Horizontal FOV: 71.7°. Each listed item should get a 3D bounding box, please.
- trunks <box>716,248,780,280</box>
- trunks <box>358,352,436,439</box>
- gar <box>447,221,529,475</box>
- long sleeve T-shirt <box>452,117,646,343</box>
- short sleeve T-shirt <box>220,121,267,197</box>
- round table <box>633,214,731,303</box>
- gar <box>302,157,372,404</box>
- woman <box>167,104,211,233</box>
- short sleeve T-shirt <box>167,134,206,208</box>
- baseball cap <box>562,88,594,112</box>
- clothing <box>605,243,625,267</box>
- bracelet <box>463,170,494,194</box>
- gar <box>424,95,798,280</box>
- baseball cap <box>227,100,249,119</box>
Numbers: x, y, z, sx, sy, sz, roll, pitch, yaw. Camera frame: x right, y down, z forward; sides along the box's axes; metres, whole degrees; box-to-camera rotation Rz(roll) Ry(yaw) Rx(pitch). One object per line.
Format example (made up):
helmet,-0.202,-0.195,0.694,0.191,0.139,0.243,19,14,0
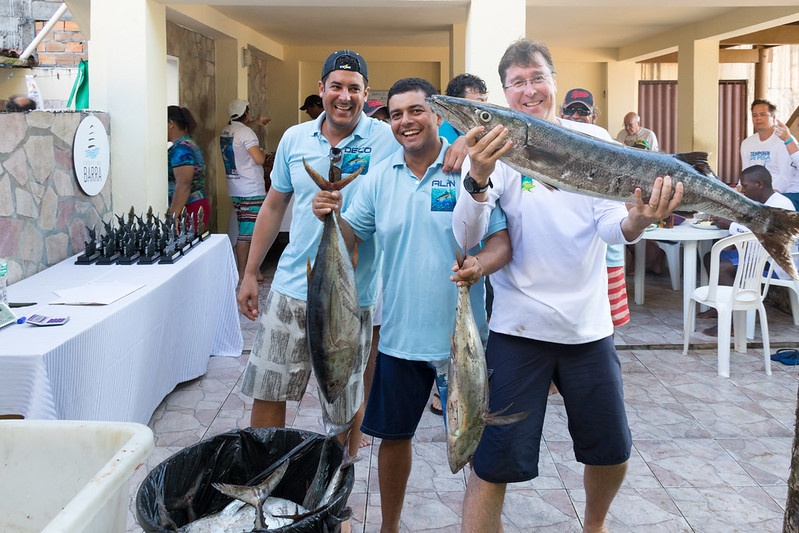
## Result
trunks,3.090,-0.007,4.909,0.233,0.208,0.286,-6,-43,11
trunks,-0.003,0.604,2.691,0.248,0.436,0.311,10,2,39
gar,0.244,0.349,2.061,0.268,0.692,0.402,2,1,-36
long sleeve T-shirt,0.639,-0.150,2.420,0.728,0.888,0.595,5,-7,11
short sleeve T-shirt,-2.158,-1.471,7.650,0.905,1.038,0.550,7,10,37
round table,2.990,-0.003,6.282,1.040,0.735,0.999,4,-4,0
gar,-0.225,0.063,2.120,0.225,0.905,0.341,1,-13,-7
woman,-2.528,-1.182,6.603,0.448,1.462,1.896,-1,9,-19
short sleeve T-shirt,-2.686,-1.180,6.865,0.527,0.856,0.882,-5,20,-17
baseball cap,1.464,-1.374,4.481,0.209,0.153,0.299,5,2,22
clothing,1.208,-0.067,3.110,0.128,0.155,0.082,-2,5,-11
bracelet,0.304,-0.324,2.126,0.091,0.088,0.077,-7,-28,-8
gar,0.679,-0.281,1.798,1.161,0.493,0.281,3,8,9
baseball cap,-2.272,-2.231,7.865,0.227,0.288,0.162,12,-17,16
